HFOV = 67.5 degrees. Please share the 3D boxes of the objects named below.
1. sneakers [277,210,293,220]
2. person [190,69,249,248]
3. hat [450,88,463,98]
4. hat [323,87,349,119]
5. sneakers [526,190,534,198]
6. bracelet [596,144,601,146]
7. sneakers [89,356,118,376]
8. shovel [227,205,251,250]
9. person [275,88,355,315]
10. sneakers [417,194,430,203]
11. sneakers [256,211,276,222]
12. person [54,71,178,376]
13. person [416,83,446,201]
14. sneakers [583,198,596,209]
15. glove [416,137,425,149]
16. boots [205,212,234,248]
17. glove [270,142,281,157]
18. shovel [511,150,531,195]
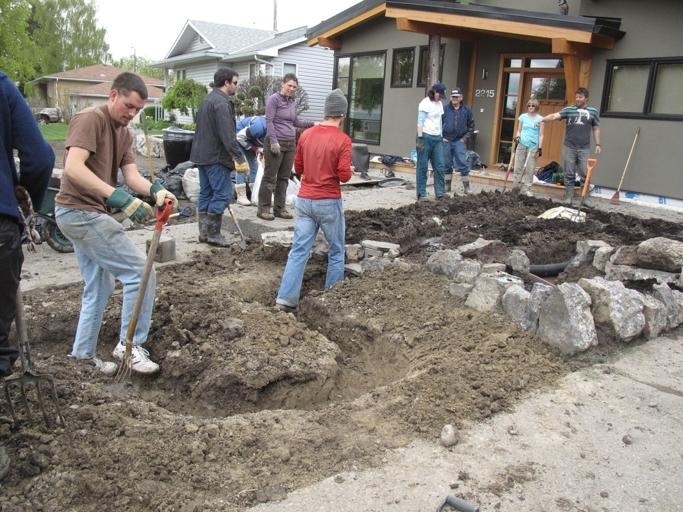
[{"bbox_3d":[-0.890,-0.658,8.175,0.277,0.133,0.106,1,12,7],"label":"sneakers"},{"bbox_3d":[-1.709,-1.359,7.161,0.775,2.424,0.495,3,16,0],"label":"person"},{"bbox_3d":[2.394,-3.433,10.661,0.185,0.163,0.293,4,6,26],"label":"hat"},{"bbox_3d":[-0.052,-1.748,5.893,0.232,0.323,0.247,5,17,6],"label":"hat"},{"bbox_3d":[3.699,-1.230,10.087,0.221,0.139,0.325,-1,8,10],"label":"sneakers"},{"bbox_3d":[4.818,-2.088,9.616,0.067,0.056,0.071,-2,12,-13],"label":"bracelet"},{"bbox_3d":[-2.080,0.976,4.507,0.279,0.141,0.110,5,16,0],"label":"sneakers"},{"bbox_3d":[-1.544,-0.417,7.777,0.134,0.167,0.799,25,24,-42],"label":"shovel"},{"bbox_3d":[-0.287,-0.641,5.904,0.762,2.465,0.958,4,16,3],"label":"person"},{"bbox_3d":[1.529,-1.070,9.532,0.145,0.191,0.453,-2,2,-5],"label":"sneakers"},{"bbox_3d":[-1.162,-0.622,7.939,0.272,0.128,0.115,10,22,31],"label":"sneakers"},{"bbox_3d":[-1.911,-0.191,4.308,0.833,2.608,0.759,-7,19,-30],"label":"person"},{"bbox_3d":[1.750,-2.208,9.827,0.663,2.121,0.840,-1,17,-14],"label":"person"},{"bbox_3d":[4.763,-1.014,9.879,0.260,0.115,0.336,9,26,15],"label":"sneakers"},{"bbox_3d":[1.507,-2.159,9.718,0.133,0.210,0.066,3,0,27],"label":"glove"},{"bbox_3d":[-1.807,-0.395,7.343,0.482,0.608,0.318,-4,15,-20],"label":"boots"},{"bbox_3d":[-0.955,-1.582,7.596,0.152,0.151,0.132,-7,-3,-3],"label":"glove"},{"bbox_3d":[3.732,-1.820,10.519,0.346,1.200,0.278,3,37,18],"label":"shovel"}]
